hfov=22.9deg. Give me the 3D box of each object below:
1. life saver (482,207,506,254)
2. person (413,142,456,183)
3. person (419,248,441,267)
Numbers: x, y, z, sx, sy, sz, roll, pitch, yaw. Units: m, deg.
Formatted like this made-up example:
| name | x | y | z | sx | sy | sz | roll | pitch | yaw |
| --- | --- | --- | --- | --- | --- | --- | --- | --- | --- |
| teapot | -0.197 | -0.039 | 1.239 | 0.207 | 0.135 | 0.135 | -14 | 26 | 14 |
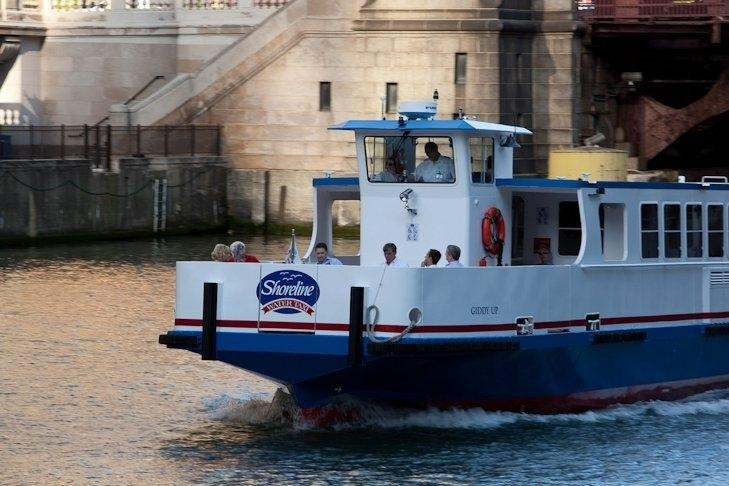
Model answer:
| name | x | y | z | sx | sy | sz | roll | pitch | yaw |
| --- | --- | --- | --- | --- | --- | --- | --- | --- | --- |
| life saver | 2.969 | -0.225 | 41.881 | 0.744 | 0.931 | 0.324 | 2 | 2 | -37 |
| person | 1.642 | -1.815 | 41.864 | 1.147 | 0.796 | 0.598 | -2 | 0 | 21 |
| person | 1.488 | 0.397 | 41.187 | 0.451 | 0.428 | 1.152 | 0 | 7 | 1 |
